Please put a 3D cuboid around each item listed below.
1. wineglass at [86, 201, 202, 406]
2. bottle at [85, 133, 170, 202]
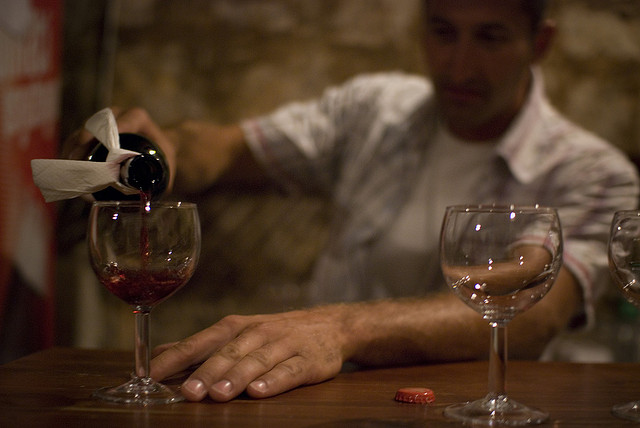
[{"bbox_3d":[-0.297,0.154,1.110,0.164,0.306,0.161,-4,-3,-22],"label":"wineglass"},{"bbox_3d":[-0.337,-0.077,1.141,0.143,0.123,0.219,-2,9,-19],"label":"bottle"}]
